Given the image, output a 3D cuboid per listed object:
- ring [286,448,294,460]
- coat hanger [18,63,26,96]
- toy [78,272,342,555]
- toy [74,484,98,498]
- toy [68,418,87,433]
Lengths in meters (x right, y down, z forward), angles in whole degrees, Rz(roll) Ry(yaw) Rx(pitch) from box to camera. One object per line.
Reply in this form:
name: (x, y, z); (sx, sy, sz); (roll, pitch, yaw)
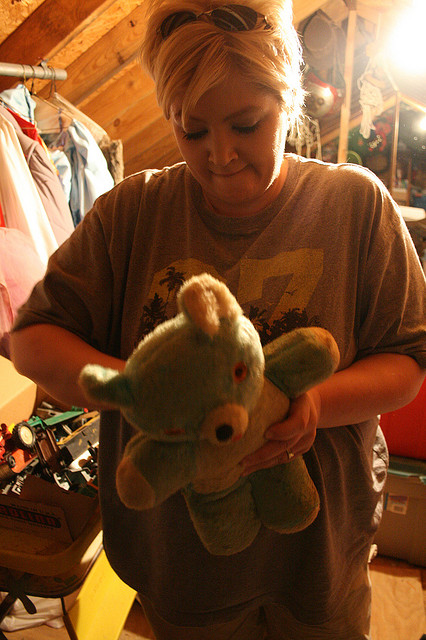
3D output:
ring: (0.092, 0.157, 0.651); (0.003, 0.011, 0.011); (-6, -2, 43)
coat hanger: (-0.663, -0.840, 1.929); (0.019, 0.091, 0.181); (-6, 14, -16)
toy: (0.002, 0.085, 0.753); (0.382, 0.318, 0.333); (-2, 17, -13)
toy: (-0.296, 0.397, 1.292); (0.024, 0.025, 0.045); (-39, -15, 14)
toy: (-0.403, 0.308, 1.656); (0.028, 0.007, 0.031); (-16, 11, 41)
